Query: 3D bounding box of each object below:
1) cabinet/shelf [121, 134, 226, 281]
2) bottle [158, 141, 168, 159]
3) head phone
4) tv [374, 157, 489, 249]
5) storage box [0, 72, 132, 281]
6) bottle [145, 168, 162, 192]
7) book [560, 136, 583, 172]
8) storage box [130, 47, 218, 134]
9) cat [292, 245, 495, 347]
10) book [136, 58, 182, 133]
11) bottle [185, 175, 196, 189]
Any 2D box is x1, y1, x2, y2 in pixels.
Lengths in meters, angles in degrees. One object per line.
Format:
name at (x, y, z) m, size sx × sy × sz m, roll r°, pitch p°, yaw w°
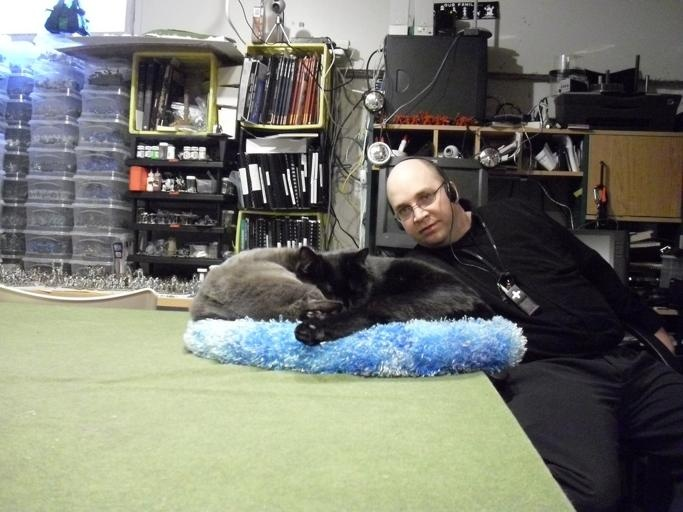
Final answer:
cabinet/shelf at (-0.933, -0.281, 3.525) m, size 0.667 × 0.864 × 0.482 m, roll 1°, pitch 12°, yaw 1°
bottle at (-1.020, -0.600, 3.440) m, size 0.060 × 0.092 × 0.110 m, roll -5°, pitch 14°, yaw -27°
head phone at (0.301, -0.231, 2.184) m, size 0.196 × 0.136 × 0.276 m, roll -25°, pitch -2°, yaw 25°
tv at (0.456, -0.276, 3.086) m, size 0.649 × 0.563 × 0.399 m, roll 0°, pitch 1°, yaw 6°
storage box at (-1.537, -0.500, 3.594) m, size 0.773 × 1.171 × 0.354 m, roll 3°, pitch 12°, yaw 10°
bottle at (-1.079, -0.430, 3.458) m, size 0.087 × 0.113 × 0.115 m, roll -3°, pitch 13°, yaw -18°
book at (1.209, -0.540, 3.202) m, size 0.049 × 0.167 × 0.123 m, roll -6°, pitch -4°, yaw -1°
storage box at (-0.980, -0.895, 3.604) m, size 0.607 × 0.614 × 0.467 m, roll 0°, pitch 4°, yaw -4°
cat at (0.121, 0.101, 1.551) m, size 0.356 × 0.139 × 0.265 m, roll -3°, pitch 11°, yaw -10°
book at (-1.055, -0.917, 3.458) m, size 0.283 × 0.393 × 0.113 m, roll 0°, pitch 5°, yaw -32°
bottle at (-0.847, -0.405, 3.400) m, size 0.072 × 0.078 × 0.047 m, roll 2°, pitch 12°, yaw 3°
